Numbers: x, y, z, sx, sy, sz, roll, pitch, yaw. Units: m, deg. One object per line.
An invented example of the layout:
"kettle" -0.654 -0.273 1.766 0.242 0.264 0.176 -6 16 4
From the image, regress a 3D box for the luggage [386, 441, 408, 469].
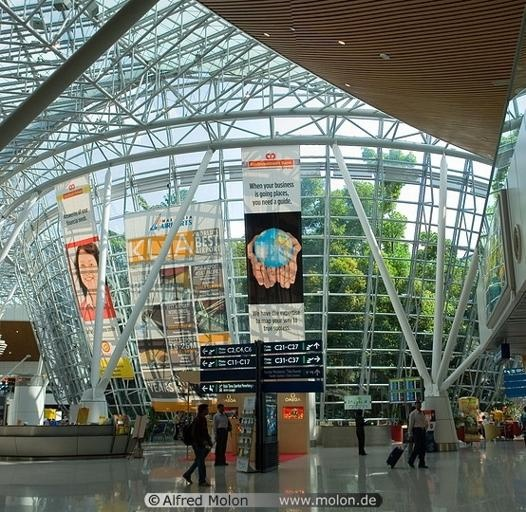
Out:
"luggage" 3.747 5.656 15.942 0.431 0.663 1.756 -4 -11 10

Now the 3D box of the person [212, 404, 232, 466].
"person" -1.287 5.548 17.589 0.515 1.910 1.282 -1 -11 -5
